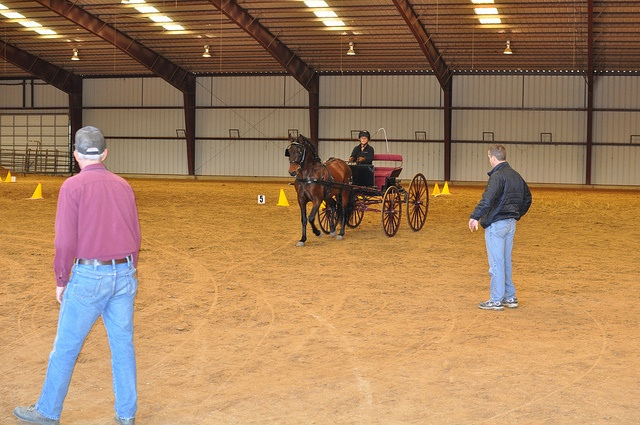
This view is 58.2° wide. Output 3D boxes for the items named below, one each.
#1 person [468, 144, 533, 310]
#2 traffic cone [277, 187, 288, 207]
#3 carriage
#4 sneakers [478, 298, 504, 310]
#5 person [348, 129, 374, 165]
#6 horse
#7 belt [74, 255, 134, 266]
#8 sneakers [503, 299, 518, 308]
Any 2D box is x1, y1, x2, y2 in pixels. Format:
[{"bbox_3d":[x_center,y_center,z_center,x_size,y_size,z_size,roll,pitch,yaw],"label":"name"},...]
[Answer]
[{"bbox_3d":[2.552,0.234,8.241,0.771,2.377,0.989,2,4,23],"label":"person"},{"bbox_3d":[-1.332,-0.549,20.740,0.482,0.788,0.536,0,12,2],"label":"traffic cone"},{"bbox_3d":[0.820,-0.411,13.788,2.090,2.437,3.571,-1,-3,29],"label":"carriage"},{"bbox_3d":[2.446,1.357,8.309,0.340,0.182,0.137,5,2,19],"label":"sneakers"},{"bbox_3d":[1.084,-1.581,14.440,0.544,0.969,0.839,2,4,9],"label":"person"},{"bbox_3d":[0.037,-0.492,13.250,0.701,2.536,2.854,4,5,29],"label":"horse"},{"bbox_3d":[-2.000,0.461,5.393,0.484,0.071,0.118,-1,5,-24],"label":"belt"},{"bbox_3d":[2.762,1.330,8.409,0.108,0.134,0.242,-4,10,-38],"label":"sneakers"}]
